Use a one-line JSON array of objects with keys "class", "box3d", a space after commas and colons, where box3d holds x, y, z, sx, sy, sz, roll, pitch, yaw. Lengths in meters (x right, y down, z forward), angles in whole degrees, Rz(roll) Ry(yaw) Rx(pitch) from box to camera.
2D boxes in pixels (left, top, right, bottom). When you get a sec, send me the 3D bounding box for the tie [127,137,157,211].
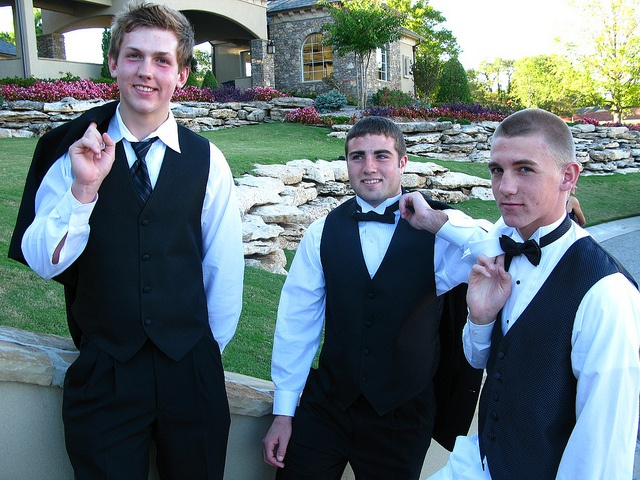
[{"class": "tie", "box3d": [-0.895, -0.321, 2.529, 0.137, 0.360, 0.031, 3, -18, -16]}]
